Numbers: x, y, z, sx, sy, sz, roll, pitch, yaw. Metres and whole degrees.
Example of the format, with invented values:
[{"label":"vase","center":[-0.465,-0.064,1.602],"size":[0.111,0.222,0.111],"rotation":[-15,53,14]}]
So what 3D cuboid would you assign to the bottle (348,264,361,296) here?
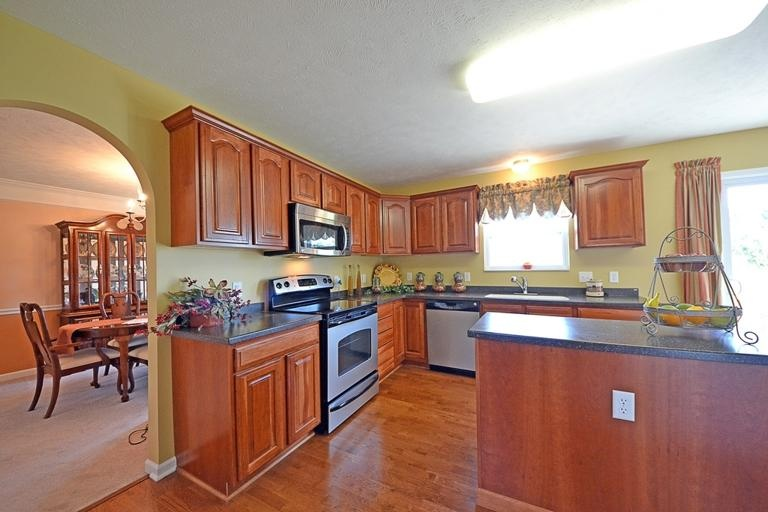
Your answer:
[{"label":"bottle","center":[-0.386,0.304,6.671],"size":[0.112,0.332,0.317],"rotation":[-4,2,13]}]

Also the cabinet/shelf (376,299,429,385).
[{"label":"cabinet/shelf","center":[0.246,0.993,6.086],"size":[0.403,0.749,0.698],"rotation":[-3,2,22]}]

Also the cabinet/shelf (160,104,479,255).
[{"label":"cabinet/shelf","center":[-0.524,-0.685,5.698],"size":[3.677,1.327,1.004],"rotation":[-5,2,-37]}]

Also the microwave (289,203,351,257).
[{"label":"microwave","center":[-0.686,-0.240,5.451],"size":[0.477,0.545,0.966],"rotation":[-4,-7,26]}]

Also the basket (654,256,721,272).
[{"label":"basket","center":[2.454,0.063,4.060],"size":[0.458,0.139,0.201],"rotation":[-3,2,19]}]

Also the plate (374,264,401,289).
[{"label":"plate","center":[0.054,0.306,7.017],"size":[0.341,0.322,0.036],"rotation":[1,-13,-2]}]

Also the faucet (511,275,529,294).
[{"label":"faucet","center":[1.677,0.365,6.157],"size":[0.192,0.223,0.338],"rotation":[-3,2,15]}]

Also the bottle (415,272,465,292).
[{"label":"bottle","center":[0.725,0.359,6.734],"size":[0.740,0.196,0.228],"rotation":[-3,2,32]}]

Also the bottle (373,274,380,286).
[{"label":"bottle","center":[-0.089,0.344,6.869],"size":[0.118,0.191,0.127],"rotation":[-2,-3,0]}]

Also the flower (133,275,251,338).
[{"label":"flower","center":[-1.684,0.490,4.575],"size":[0.751,0.319,0.543],"rotation":[-2,-3,-29]}]

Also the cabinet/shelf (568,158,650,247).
[{"label":"cabinet/shelf","center":[2.577,-0.581,5.631],"size":[0.965,1.172,0.621],"rotation":[-4,-8,30]}]

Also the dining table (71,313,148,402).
[{"label":"dining table","center":[-3.194,1.212,5.845],"size":[0.996,0.579,0.542],"rotation":[-5,-8,27]}]
